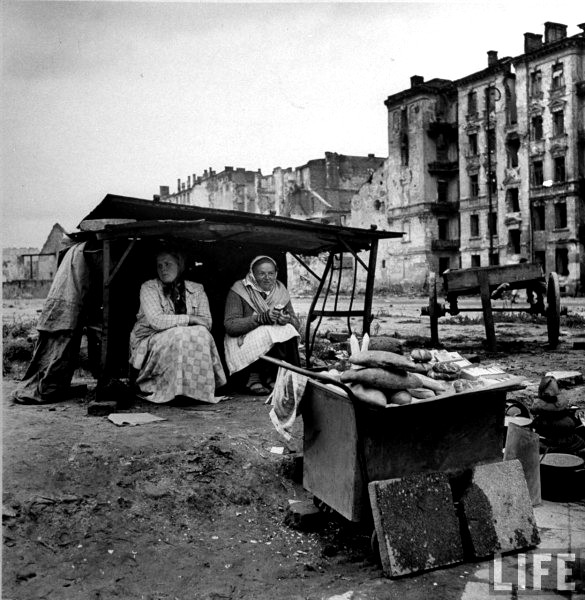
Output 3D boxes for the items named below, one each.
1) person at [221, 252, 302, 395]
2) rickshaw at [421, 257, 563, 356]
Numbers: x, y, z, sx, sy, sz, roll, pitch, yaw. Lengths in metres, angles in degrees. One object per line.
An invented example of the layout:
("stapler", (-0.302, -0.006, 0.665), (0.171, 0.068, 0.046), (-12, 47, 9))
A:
("person", (-0.302, 0.246, 6.838), (0.611, 1.434, 0.582), (-6, -13, 23))
("rickshaw", (2.663, -0.103, 9.111), (1.119, 0.791, 1.332), (-4, -11, 2))
